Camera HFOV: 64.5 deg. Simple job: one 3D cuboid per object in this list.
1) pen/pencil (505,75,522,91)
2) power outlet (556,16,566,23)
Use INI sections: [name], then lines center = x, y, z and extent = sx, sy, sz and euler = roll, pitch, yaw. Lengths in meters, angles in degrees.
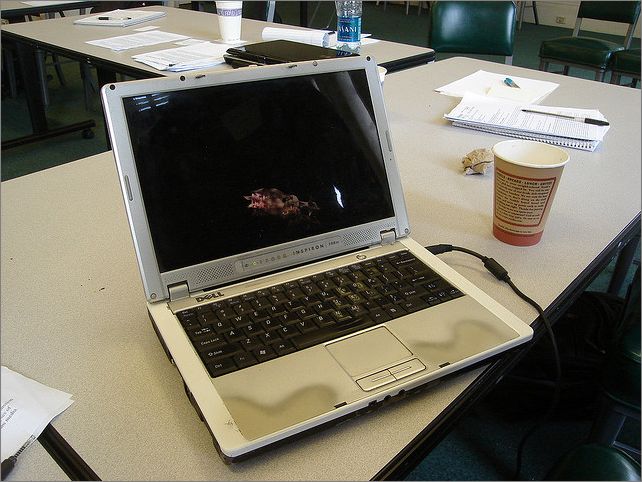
[pen/pencil]
center = 0.577, -0.476, 1.538
extent = 0.025, 0.014, 0.089
euler = -26, 35, -9
[power outlet]
center = 3.105, -2.867, 6.592
extent = 0.125, 0.070, 0.062
euler = 13, 31, 26
